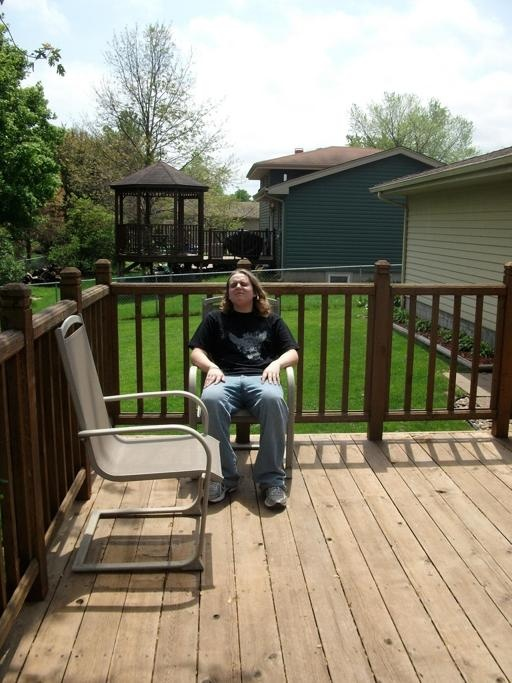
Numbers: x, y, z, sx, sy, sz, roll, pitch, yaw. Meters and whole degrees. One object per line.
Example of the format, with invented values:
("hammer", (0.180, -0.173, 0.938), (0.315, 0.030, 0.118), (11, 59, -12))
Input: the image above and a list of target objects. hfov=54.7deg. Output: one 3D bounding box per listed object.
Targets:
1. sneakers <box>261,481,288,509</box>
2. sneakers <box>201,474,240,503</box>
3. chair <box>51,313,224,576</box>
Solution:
("sneakers", (0.099, 0.809, 2.605), (0.134, 0.106, 0.226), (0, 4, 0))
("sneakers", (-0.195, 0.795, 2.702), (0.114, 0.143, 0.310), (0, -8, 33))
("chair", (-0.494, 0.345, 2.439), (0.943, 1.425, 0.891), (0, 13, -3))
